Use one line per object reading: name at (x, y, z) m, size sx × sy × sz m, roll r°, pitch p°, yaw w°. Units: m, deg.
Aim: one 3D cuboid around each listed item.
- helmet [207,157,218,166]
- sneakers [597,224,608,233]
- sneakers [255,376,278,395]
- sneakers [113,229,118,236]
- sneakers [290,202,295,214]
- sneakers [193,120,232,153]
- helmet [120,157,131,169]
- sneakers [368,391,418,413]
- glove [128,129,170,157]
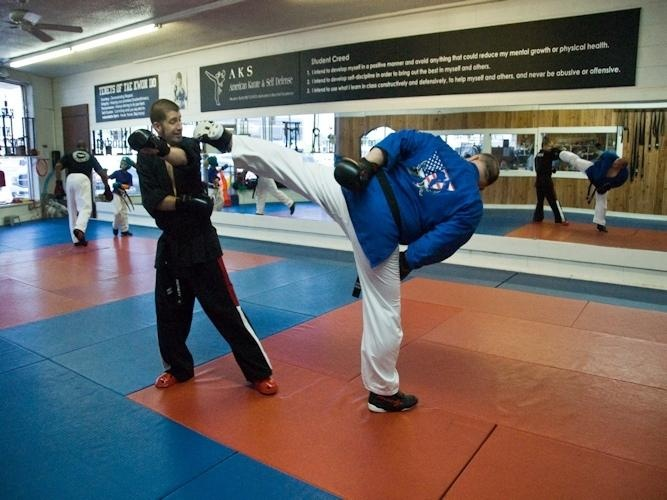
helmet at (-2.837, -2.094, 10.888) m, size 0.200 × 0.231 × 0.089 m, roll -2°, pitch -13°, yaw 13°
sneakers at (4.100, -0.320, 7.065) m, size 0.156 × 0.104 × 0.085 m, roll 8°, pitch 16°, yaw 31°
sneakers at (-0.544, 1.134, 3.801) m, size 0.089 × 0.097 × 0.223 m, roll -1°, pitch -6°, yaw -41°
sneakers at (-4.913, -0.393, 10.404) m, size 0.127 × 0.148 × 0.139 m, roll 0°, pitch 0°, yaw 9°
sneakers at (-0.853, -0.876, 9.753) m, size 0.104 × 0.265 × 0.081 m, roll -4°, pitch 9°, yaw -23°
sneakers at (-0.847, -0.814, 3.355) m, size 0.146 × 0.175 × 0.287 m, roll -14°, pitch -18°, yaw 43°
helmet at (-4.958, -2.072, 11.084) m, size 0.206 × 0.246 × 0.270 m, roll 6°, pitch -5°, yaw -2°
sneakers at (0.448, 1.189, 3.640) m, size 0.410 × 0.193 × 0.149 m, roll -3°, pitch 11°, yaw -6°
glove at (-1.268, -0.732, 3.211) m, size 0.167 × 0.112 × 0.223 m, roll 33°, pitch 14°, yaw 32°
